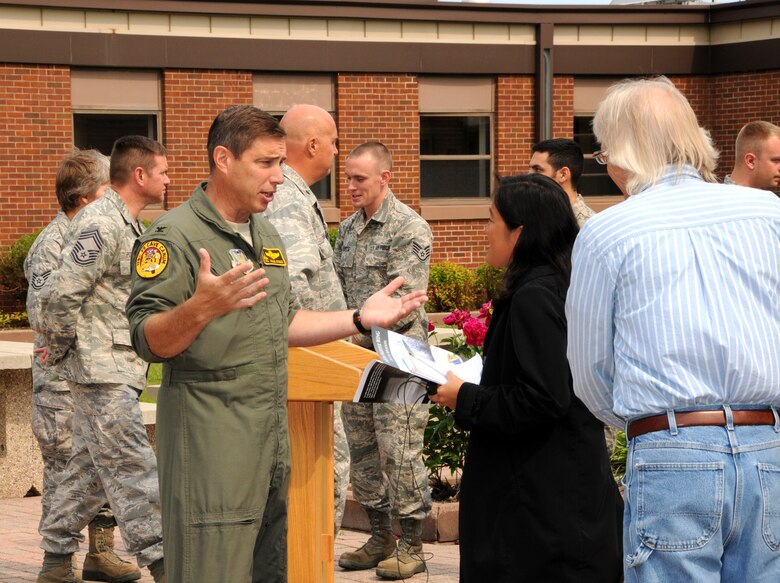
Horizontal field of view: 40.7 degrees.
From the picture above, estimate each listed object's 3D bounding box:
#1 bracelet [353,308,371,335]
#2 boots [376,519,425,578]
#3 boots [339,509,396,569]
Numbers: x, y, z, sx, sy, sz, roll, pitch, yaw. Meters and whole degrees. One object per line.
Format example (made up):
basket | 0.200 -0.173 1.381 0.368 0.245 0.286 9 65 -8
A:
bracelet | -0.128 0.159 5.233 0.035 0.106 0.108 -26 50 -22
boots | -0.003 1.727 6.862 0.211 0.431 0.468 -8 -13 37
boots | -0.161 1.695 7.128 0.462 0.362 0.182 1 -7 -35
